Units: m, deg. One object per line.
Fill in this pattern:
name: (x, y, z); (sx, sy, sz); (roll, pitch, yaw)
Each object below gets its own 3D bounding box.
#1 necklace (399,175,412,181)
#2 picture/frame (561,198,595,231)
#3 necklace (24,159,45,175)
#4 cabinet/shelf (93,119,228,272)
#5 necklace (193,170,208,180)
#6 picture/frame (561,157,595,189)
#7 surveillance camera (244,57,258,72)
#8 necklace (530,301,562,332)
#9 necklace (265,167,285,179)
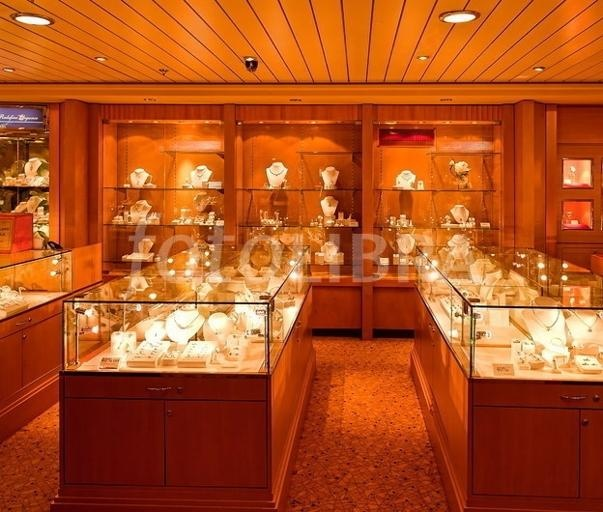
necklace: (1.168, -0.876, 5.489); (0.087, 0.060, 0.020); (0, -16, 5)
picture/frame: (2.982, -0.431, 5.471); (0.422, 0.385, 0.307); (0, 0, 19)
necklace: (-2.868, -0.968, 5.330); (0.171, 0.155, 0.087); (3, 10, -3)
cabinet/shelf: (-1.527, -0.710, 5.359); (1.741, 2.117, 0.564); (1, 1, -2)
necklace: (-1.119, -0.912, 5.518); (0.120, 0.110, 0.061); (0, 2, 4)
picture/frame: (3.052, -0.933, 5.468); (0.431, 0.395, 0.324); (0, 1, 31)
surveillance camera: (-0.409, -1.570, 4.053); (0.128, 0.090, 0.105); (-1, 6, 22)
necklace: (1.214, 0.294, 2.443); (0.109, 0.143, 0.040); (-1, 2, 17)
necklace: (-0.282, -0.945, 5.531); (0.196, 0.105, 0.089); (0, -7, 3)
